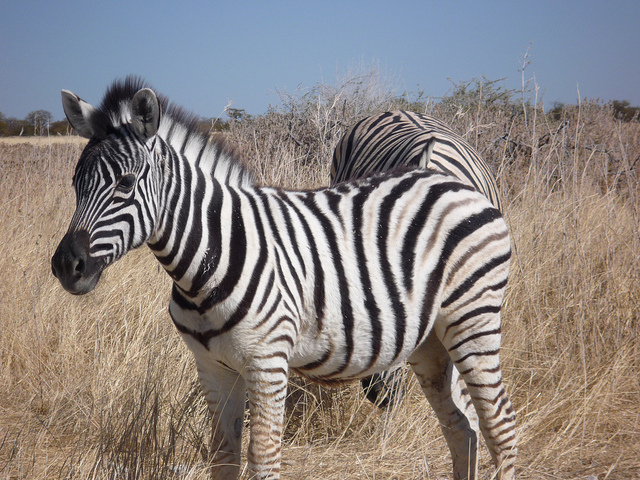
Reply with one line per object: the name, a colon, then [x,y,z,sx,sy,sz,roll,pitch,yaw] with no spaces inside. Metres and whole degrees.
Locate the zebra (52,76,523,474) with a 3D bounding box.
zebra: [0.062,0.764,5.840,4.289,3.924,1.554,8,-13,-28]

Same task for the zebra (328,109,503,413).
zebra: [0.747,-0.515,6.226,0.941,1.913,3.570,-2,45,6]
